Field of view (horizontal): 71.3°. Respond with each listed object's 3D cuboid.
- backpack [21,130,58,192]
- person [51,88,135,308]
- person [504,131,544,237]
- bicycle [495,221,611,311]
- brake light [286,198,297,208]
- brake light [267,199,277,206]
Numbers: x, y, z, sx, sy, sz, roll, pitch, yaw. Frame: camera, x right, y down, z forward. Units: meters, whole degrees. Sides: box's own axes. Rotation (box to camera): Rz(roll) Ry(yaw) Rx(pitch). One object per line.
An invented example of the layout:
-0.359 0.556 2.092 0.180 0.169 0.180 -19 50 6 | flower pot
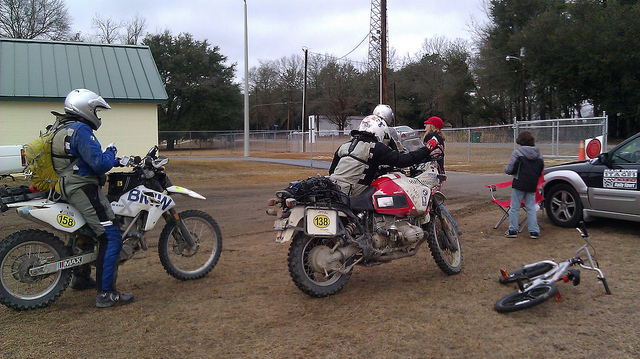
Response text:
-4.937 -0.330 7.967 0.589 1.065 0.300 0 9 10 | backpack
-4.157 0.311 8.102 1.048 3.920 1.100 -6 10 -30 | person
5.044 0.090 11.066 0.808 2.578 0.736 3 10 24 | person
4.232 1.466 8.228 2.692 1.418 0.964 -4 9 -20 | bicycle
-0.507 0.423 7.965 0.121 0.172 0.202 4 9 31 | brake light
-0.860 0.412 8.081 0.125 0.065 0.174 0 2 19 | brake light
